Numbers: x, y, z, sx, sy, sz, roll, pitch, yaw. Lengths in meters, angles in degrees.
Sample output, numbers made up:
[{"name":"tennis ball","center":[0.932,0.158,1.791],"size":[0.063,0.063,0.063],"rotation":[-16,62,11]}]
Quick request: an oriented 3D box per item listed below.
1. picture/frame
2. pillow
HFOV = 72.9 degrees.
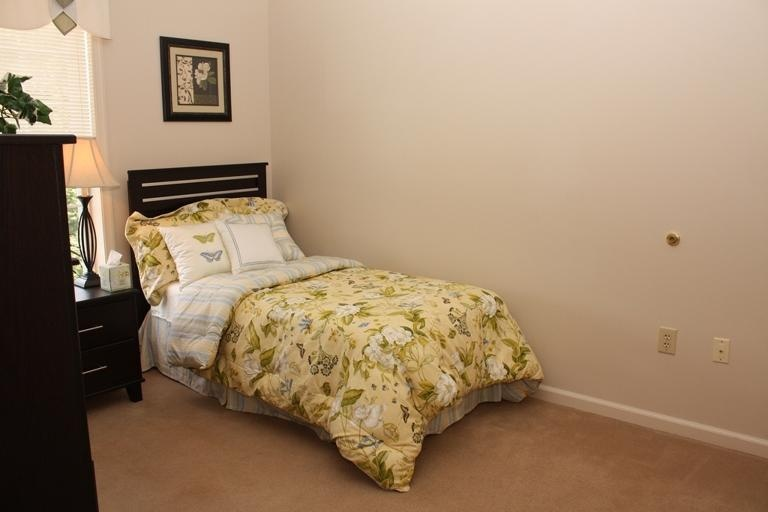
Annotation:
[{"name":"picture/frame","center":[-1.554,-1.453,4.196],"size":[0.056,0.782,0.770],"rotation":[5,7,40]},{"name":"pillow","center":[-1.359,-0.095,4.061],"size":[1.168,0.617,0.648],"rotation":[-11,22,-32]}]
